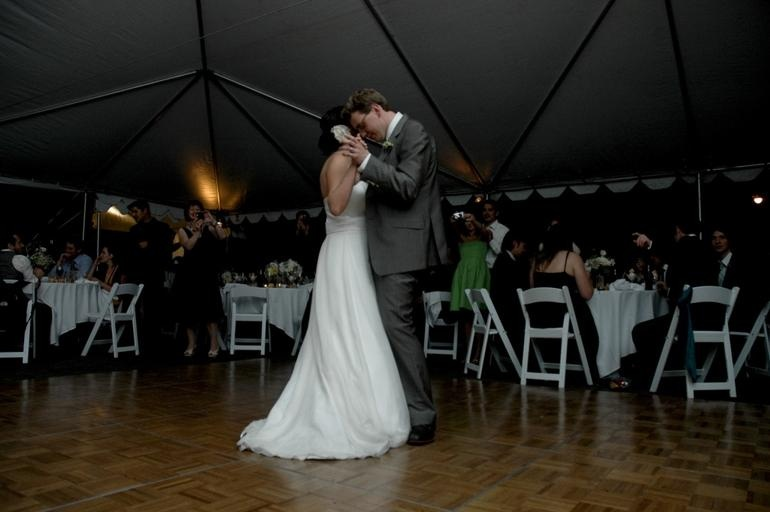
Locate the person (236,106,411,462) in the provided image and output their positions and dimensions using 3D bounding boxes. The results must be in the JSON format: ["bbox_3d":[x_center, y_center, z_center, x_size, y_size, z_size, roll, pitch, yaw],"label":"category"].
[{"bbox_3d":[-0.363,0.417,4.047,1.119,2.012,0.602,1,2,3],"label":"person"}]

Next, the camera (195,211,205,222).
[{"bbox_3d":[-2.735,-0.577,7.857,0.146,0.122,0.153,4,-9,-22],"label":"camera"}]
